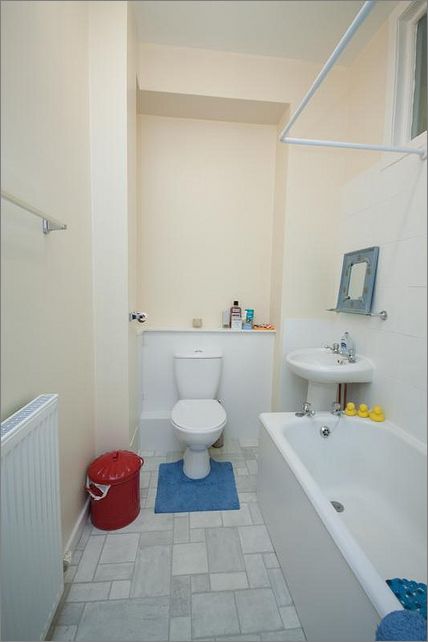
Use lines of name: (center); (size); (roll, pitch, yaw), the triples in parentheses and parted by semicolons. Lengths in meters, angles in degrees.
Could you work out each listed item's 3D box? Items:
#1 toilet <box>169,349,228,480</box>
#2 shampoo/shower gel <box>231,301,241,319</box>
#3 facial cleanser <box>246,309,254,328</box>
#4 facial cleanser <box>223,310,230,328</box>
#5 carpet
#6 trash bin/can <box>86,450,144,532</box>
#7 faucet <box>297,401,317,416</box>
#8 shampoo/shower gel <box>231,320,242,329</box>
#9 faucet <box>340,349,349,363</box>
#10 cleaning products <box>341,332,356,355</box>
toilet: (-0.091, 0.491, 2.335); (0.280, 0.752, 0.617); (0, 2, 0)
shampoo/shower gel: (0.144, -0.078, 2.766); (0.070, 0.167, 0.077); (4, 11, 15)
facial cleanser: (0.245, -0.024, 2.830); (0.052, 0.121, 0.140); (2, 10, 8)
facial cleanser: (0.084, -0.016, 2.812); (0.051, 0.111, 0.041); (2, 9, 8)
carpet: (-0.095, 0.871, 2.198); (0.424, 0.027, 0.496); (0, 11, -5)
trash bin/can: (-0.428, 0.746, 1.858); (0.236, 0.334, 0.268); (-1, 8, -11)
faucet: (0.466, 0.443, 2.076); (0.054, 0.093, 0.175); (2, 0, 1)
shampoo/shower gel: (0.150, 0.019, 2.751); (0.071, 0.092, 0.046); (3, 9, 10)
faucet: (0.695, 0.190, 2.206); (0.040, 0.039, 0.154); (4, 11, 15)
cleaning products: (0.730, 0.121, 2.245); (0.076, 0.114, 0.226); (4, 11, 18)
